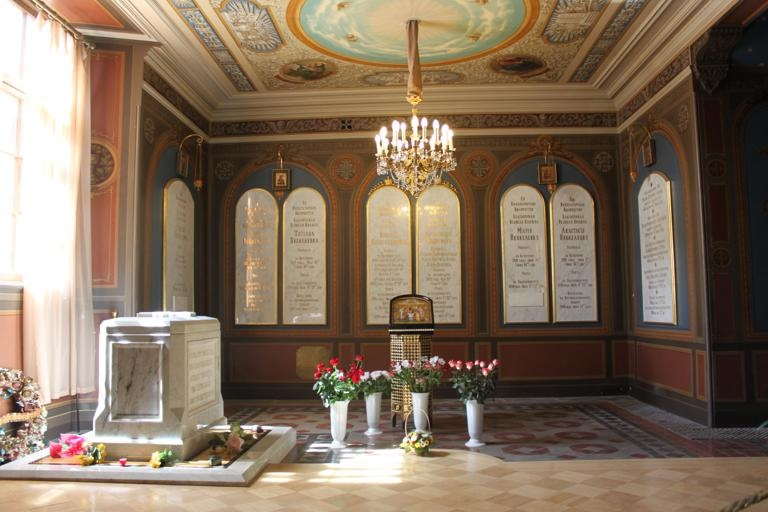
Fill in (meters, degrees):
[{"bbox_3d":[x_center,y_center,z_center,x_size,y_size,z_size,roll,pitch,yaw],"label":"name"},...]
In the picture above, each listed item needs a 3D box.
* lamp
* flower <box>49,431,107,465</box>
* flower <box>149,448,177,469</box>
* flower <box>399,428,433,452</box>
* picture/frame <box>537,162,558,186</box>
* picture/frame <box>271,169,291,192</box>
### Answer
[{"bbox_3d":[0.399,-1.837,7.966,1.351,2.234,3.488,0,-1,7],"label":"lamp"},{"bbox_3d":[-3.036,1.898,5.351,0.349,0.149,0.356,4,-7,2],"label":"flower"},{"bbox_3d":[-2.136,1.946,5.207,0.221,0.114,0.214,0,-1,-7],"label":"flower"},{"bbox_3d":[0.349,2.016,5.864,0.339,0.229,0.317,0,-1,-1],"label":"flower"},{"bbox_3d":[2.666,-1.336,8.834,0.415,0.507,0.073,0,-9,1],"label":"picture/frame"},{"bbox_3d":[-1.707,-1.250,8.953,0.389,0.437,0.076,-1,-12,1],"label":"picture/frame"}]
